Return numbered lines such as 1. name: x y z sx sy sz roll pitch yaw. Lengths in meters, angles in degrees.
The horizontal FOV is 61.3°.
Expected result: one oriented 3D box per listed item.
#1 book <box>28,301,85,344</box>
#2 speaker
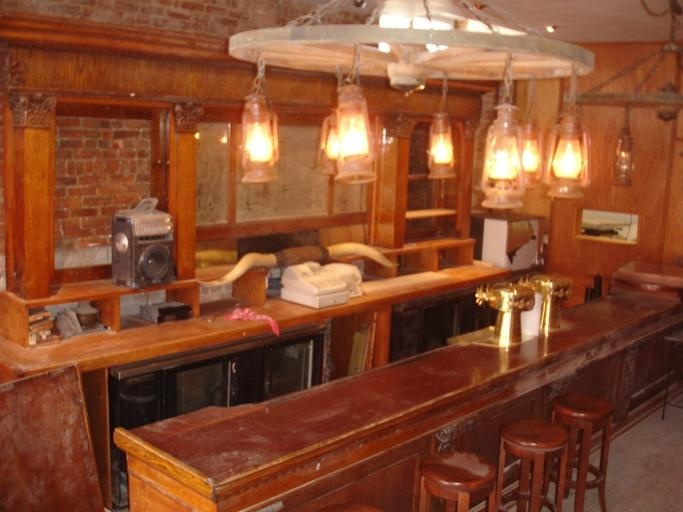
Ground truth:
1. book: -2.153 0.484 4.310 0.381 0.215 0.310 -7 16 -33
2. speaker: -1.548 -0.059 4.471 0.461 0.581 0.324 -1 15 -14
